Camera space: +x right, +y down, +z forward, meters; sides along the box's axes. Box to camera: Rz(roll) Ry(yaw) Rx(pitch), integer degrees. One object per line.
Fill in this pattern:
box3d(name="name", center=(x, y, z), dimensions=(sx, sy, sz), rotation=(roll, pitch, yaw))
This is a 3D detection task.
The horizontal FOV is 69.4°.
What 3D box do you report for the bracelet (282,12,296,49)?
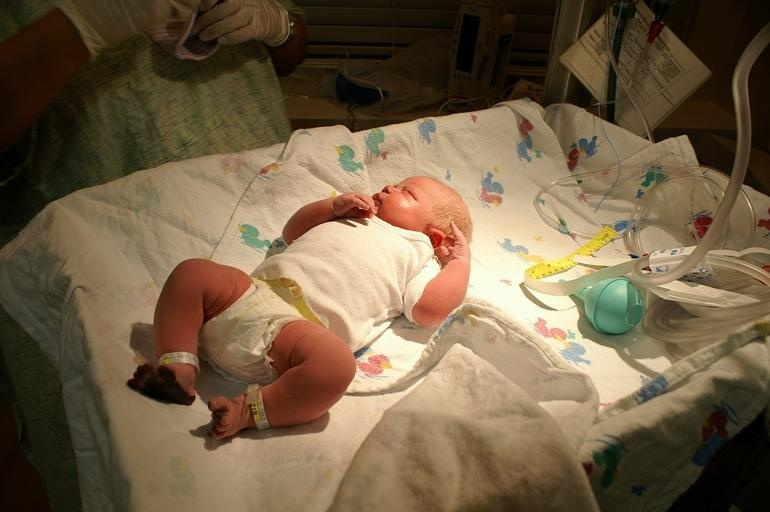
box3d(name="bracelet", center=(-0.376, -0.927, 2.305), dimensions=(0.082, 0.115, 0.103), rotation=(0, -13, -9))
